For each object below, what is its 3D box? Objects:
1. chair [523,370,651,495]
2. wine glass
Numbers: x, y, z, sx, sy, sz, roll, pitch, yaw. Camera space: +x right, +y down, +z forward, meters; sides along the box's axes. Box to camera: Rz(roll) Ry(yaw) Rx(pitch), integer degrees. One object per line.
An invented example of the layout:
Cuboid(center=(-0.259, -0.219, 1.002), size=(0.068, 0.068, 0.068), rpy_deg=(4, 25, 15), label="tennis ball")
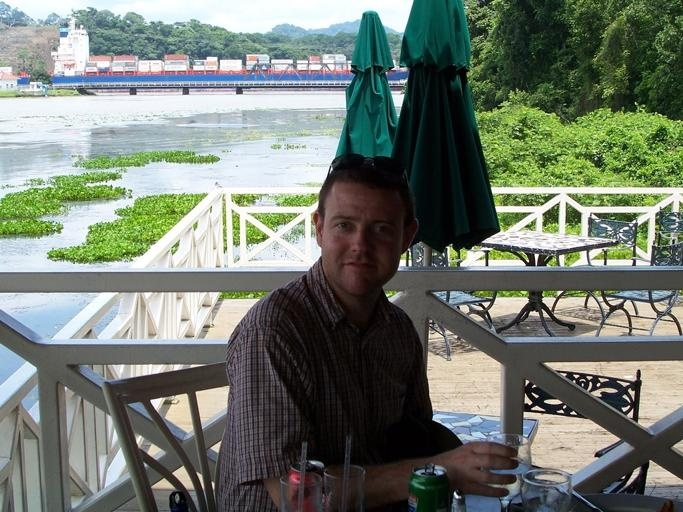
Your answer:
Cuboid(center=(1.083, 0.700, 3.557), size=(0.502, 0.504, 0.956), rpy_deg=(2, 9, 14), label="chair")
Cuboid(center=(0.526, 0.665, 2.490), size=(0.138, 0.223, 0.251), rpy_deg=(1, 9, 11), label="wine glass")
